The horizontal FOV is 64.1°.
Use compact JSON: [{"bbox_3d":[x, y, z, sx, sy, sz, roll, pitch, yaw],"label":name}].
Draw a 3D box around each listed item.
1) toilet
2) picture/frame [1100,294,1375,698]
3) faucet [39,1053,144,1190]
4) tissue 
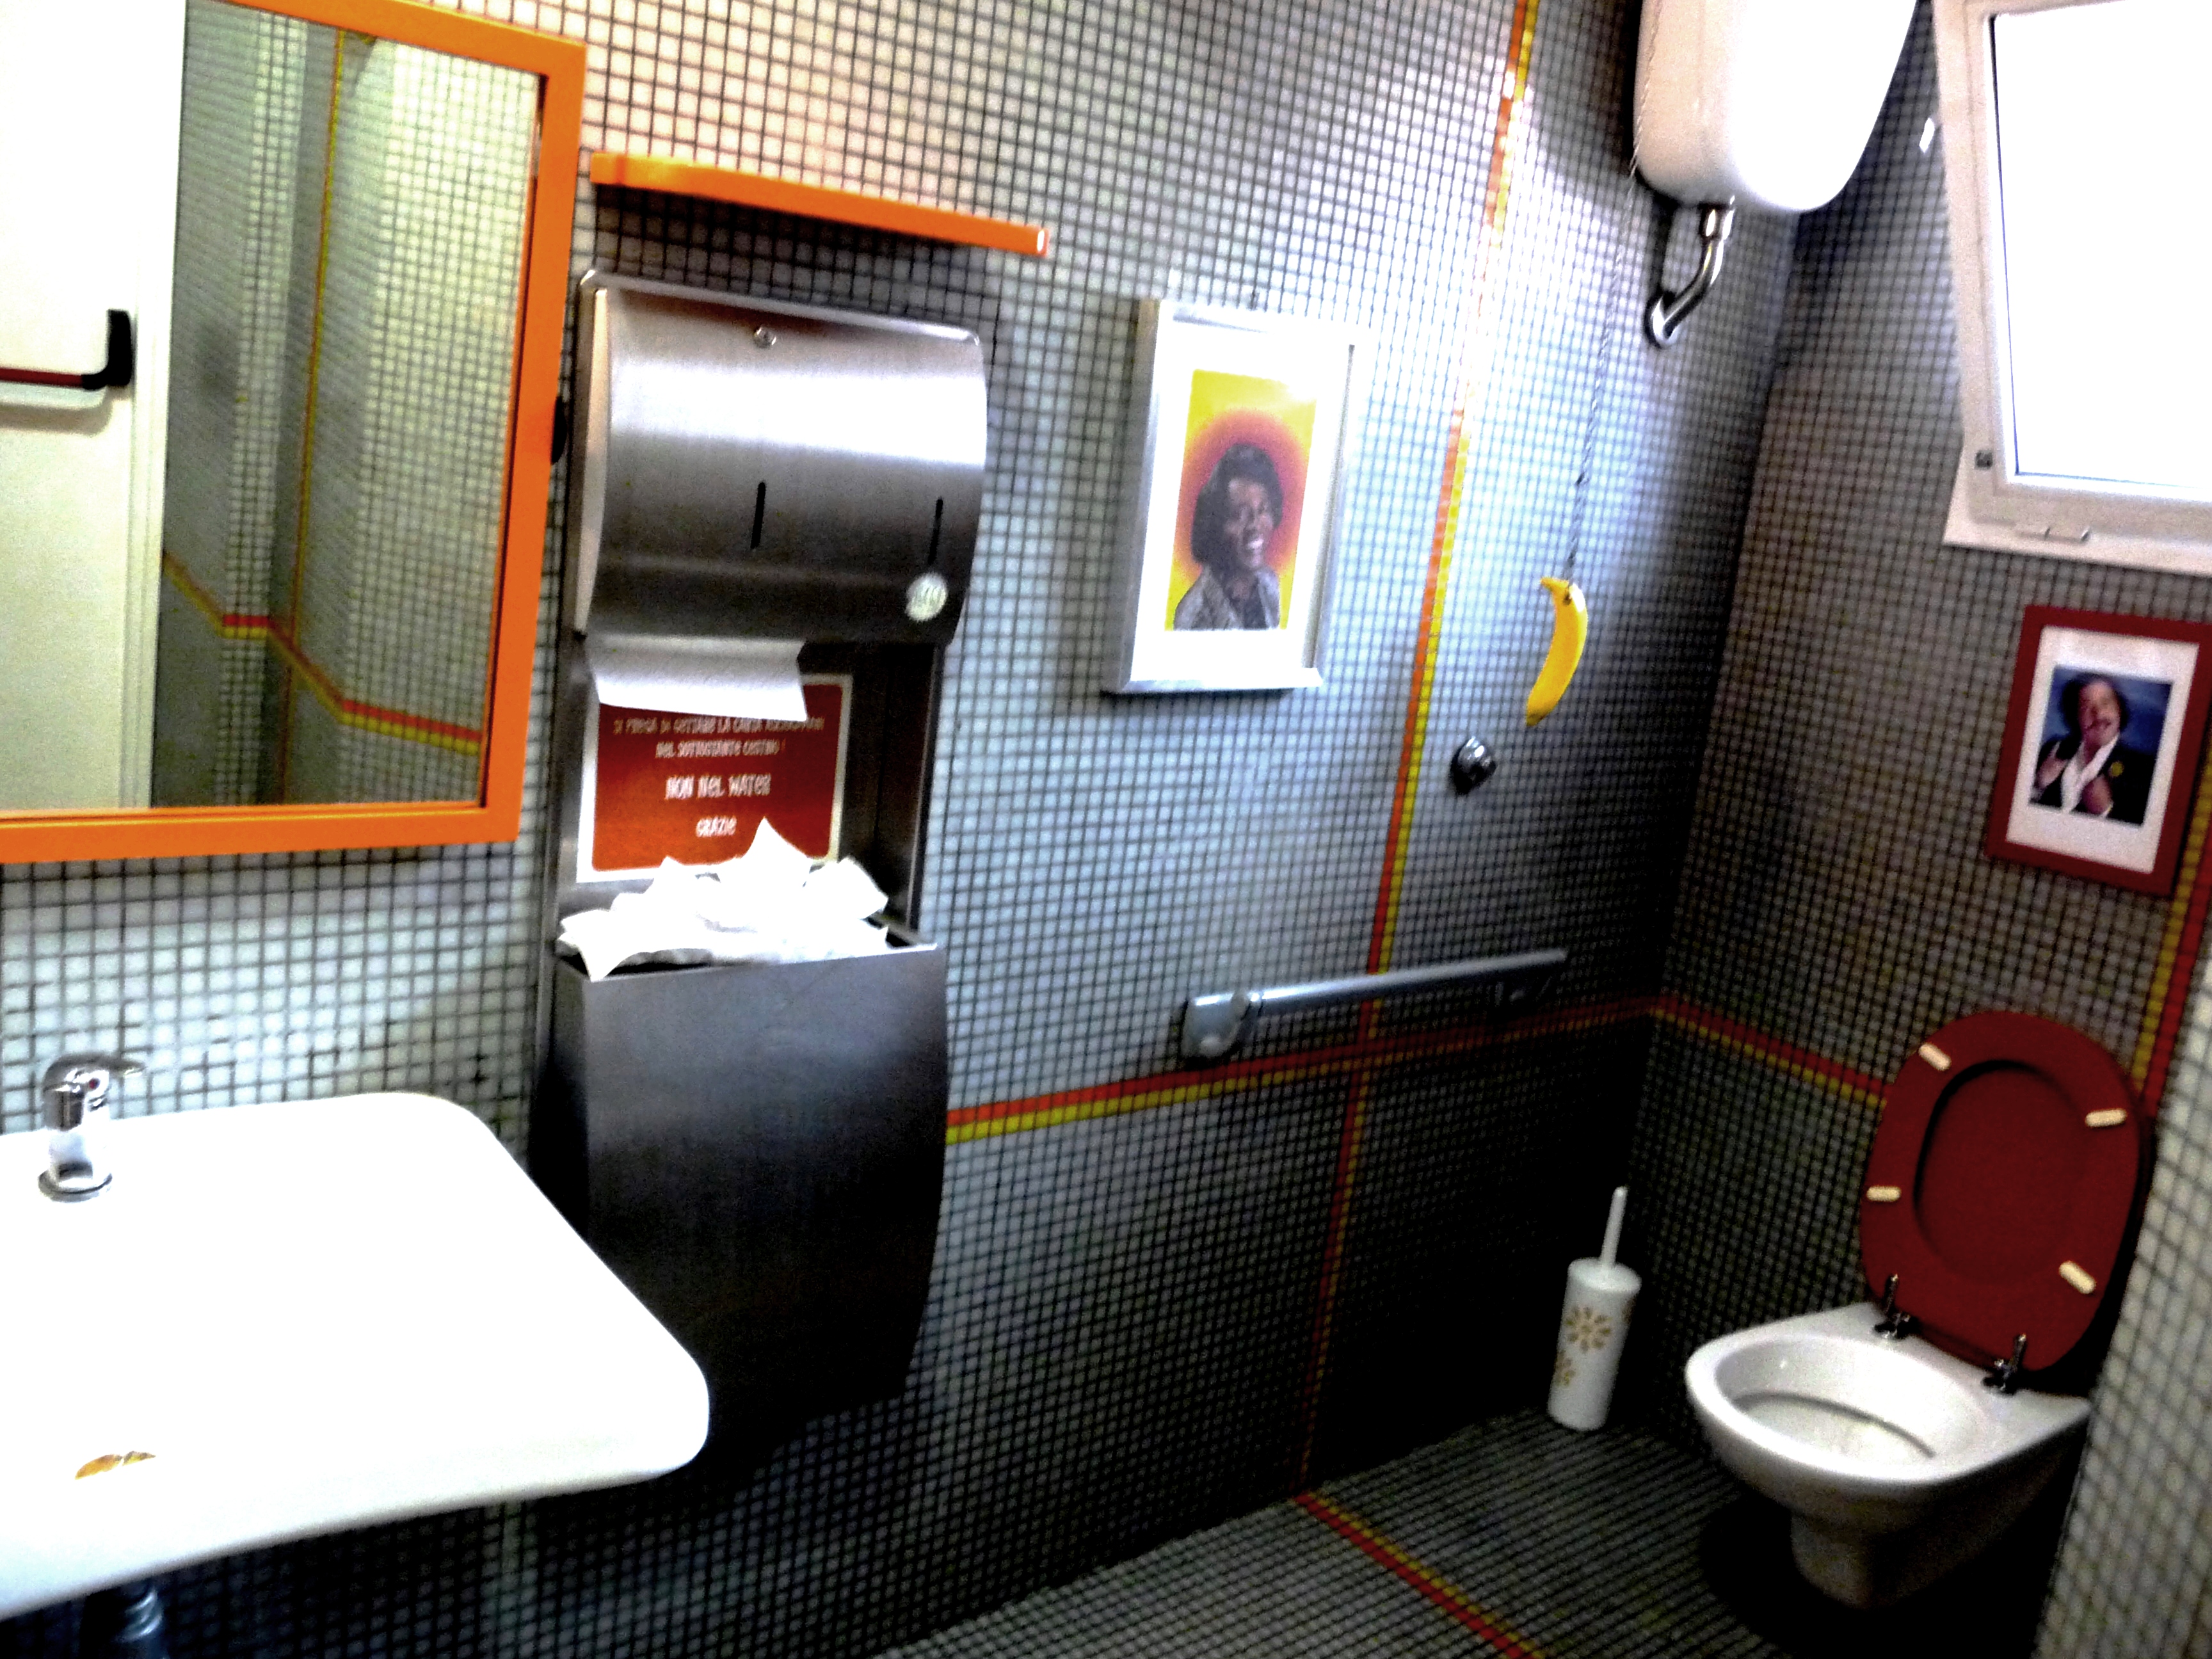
[{"bbox_3d":[1.302,0.834,2.880,0.595,1.009,0.517,-8,14,-42],"label":"toilet"},{"bbox_3d":[0.183,-0.513,2.631,0.598,0.717,0.089,-2,17,-42],"label":"picture/frame"},{"bbox_3d":[-1.086,0.315,1.880,0.117,0.165,0.088,-5,20,-42],"label":"faucet"},{"bbox_3d":[-0.405,-0.425,2.145,0.536,0.529,0.090,-3,15,-35],"label":"tissue "}]
